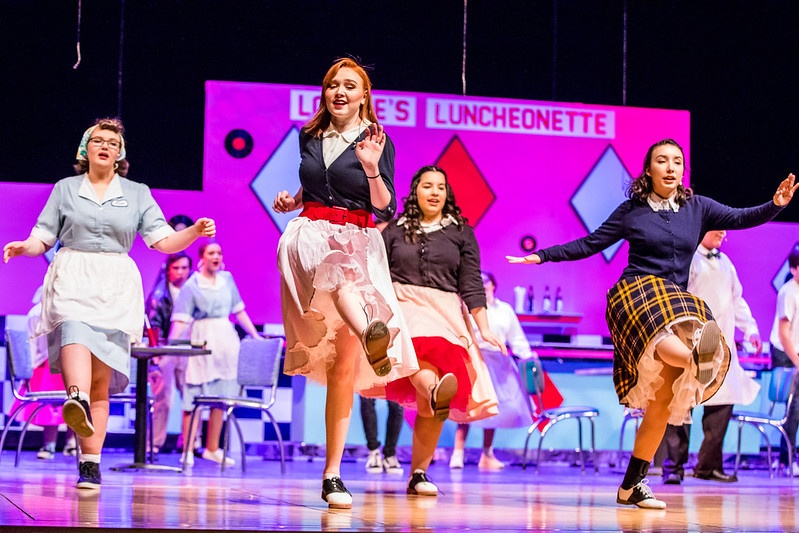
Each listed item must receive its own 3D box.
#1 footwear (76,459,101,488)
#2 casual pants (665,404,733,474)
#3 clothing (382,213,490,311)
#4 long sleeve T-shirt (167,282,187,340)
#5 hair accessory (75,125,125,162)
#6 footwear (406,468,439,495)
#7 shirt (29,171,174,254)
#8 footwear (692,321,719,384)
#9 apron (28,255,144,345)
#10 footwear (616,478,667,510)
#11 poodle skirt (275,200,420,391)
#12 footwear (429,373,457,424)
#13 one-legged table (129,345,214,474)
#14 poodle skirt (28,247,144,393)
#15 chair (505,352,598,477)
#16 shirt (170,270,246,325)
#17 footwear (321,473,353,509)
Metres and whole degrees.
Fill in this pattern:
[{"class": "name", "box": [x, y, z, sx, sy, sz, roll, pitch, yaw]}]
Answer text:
[{"class": "footwear", "box": [-1.870, 1.256, 5.292, 0.134, 0.163, 0.180, 7, -14, -18]}, {"class": "casual pants", "box": [2.561, 1.562, 7.811, 0.566, 0.689, 0.494, -18, -20, 25]}, {"class": "clothing", "box": [0.200, -0.023, 5.715, 0.654, 0.578, 0.261, 4, -22, -8]}, {"class": "long sleeve T-shirt", "box": [-2.106, 0.455, 8.240, 0.191, 0.227, 0.672, 4, -50, -10]}, {"class": "hair accessory", "box": [-1.970, -0.823, 5.801, 0.250, 0.260, 0.317, 2, -11, -7]}, {"class": "footwear", "box": [0.136, 1.411, 5.705, 0.098, 0.128, 0.259, 4, -15, -24]}, {"class": "shirt", "box": [-2.123, -0.378, 6.080, 0.823, 0.553, 0.356, 5, -15, -16]}, {"class": "footwear", "box": [1.749, 0.484, 5.133, 0.137, 0.387, 0.172, 2, 2, -10]}, {"class": "apron", "box": [-1.973, 0.227, 5.567, 0.653, 0.625, 0.360, 5, -24, -18]}, {"class": "footwear", "box": [1.456, 1.412, 5.397, 0.125, 0.163, 0.341, 9, -15, -41]}, {"class": "poodle skirt", "box": [-0.358, 0.176, 4.992, 0.723, 0.961, 0.513, 14, -41, -29]}, {"class": "footwear", "box": [0.247, 0.750, 5.104, 0.110, 0.305, 0.136, 7, 22, -23]}, {"class": "one-legged table", "box": [-1.770, 1.139, 7.138, 0.902, 0.908, 0.928, 0, -2, 14]}, {"class": "poodle skirt", "box": [-1.927, 0.332, 5.546, 0.615, 0.860, 0.441, 2, -19, -21]}, {"class": "chair", "box": [1.569, 1.446, 8.687, 0.763, 1.151, 0.751, -7, -5, 25]}, {"class": "shirt", "box": [-1.816, 0.281, 8.366, 0.744, 0.534, 0.354, -6, -2, -41]}, {"class": "footwear", "box": [-0.352, 1.258, 4.908, 0.174, 0.179, 0.203, 3, -13, -4]}]
